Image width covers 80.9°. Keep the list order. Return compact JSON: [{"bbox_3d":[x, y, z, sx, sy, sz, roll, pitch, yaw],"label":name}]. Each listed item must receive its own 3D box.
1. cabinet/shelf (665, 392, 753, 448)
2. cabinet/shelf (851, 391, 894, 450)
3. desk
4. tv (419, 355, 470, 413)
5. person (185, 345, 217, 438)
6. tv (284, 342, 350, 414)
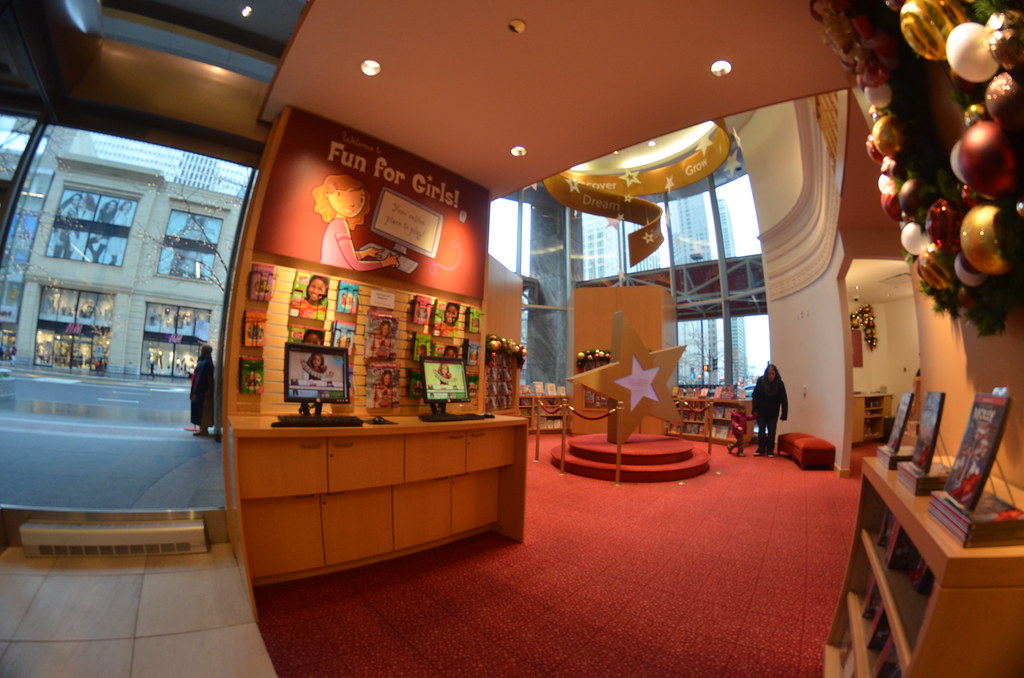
[{"bbox_3d":[3.672,1.590,11.454,1.244,0.771,0.312,-1,-3,9],"label":"cabinet/shelf"},{"bbox_3d":[6.981,1.581,11.544,0.287,0.842,0.904,18,-6,-3],"label":"cabinet/shelf"},{"bbox_3d":[-1.133,1.304,5.427,2.563,1.424,0.872,-1,13,-30],"label":"desk"},{"bbox_3d":[-0.685,0.434,5.884,0.502,0.562,0.240,8,-19,-39],"label":"tv"},{"bbox_3d":[-2.991,0.512,5.836,0.146,0.849,0.241,11,16,30],"label":"person"},{"bbox_3d":[-1.698,0.334,5.173,0.585,0.596,0.078,4,-12,-29],"label":"tv"}]
